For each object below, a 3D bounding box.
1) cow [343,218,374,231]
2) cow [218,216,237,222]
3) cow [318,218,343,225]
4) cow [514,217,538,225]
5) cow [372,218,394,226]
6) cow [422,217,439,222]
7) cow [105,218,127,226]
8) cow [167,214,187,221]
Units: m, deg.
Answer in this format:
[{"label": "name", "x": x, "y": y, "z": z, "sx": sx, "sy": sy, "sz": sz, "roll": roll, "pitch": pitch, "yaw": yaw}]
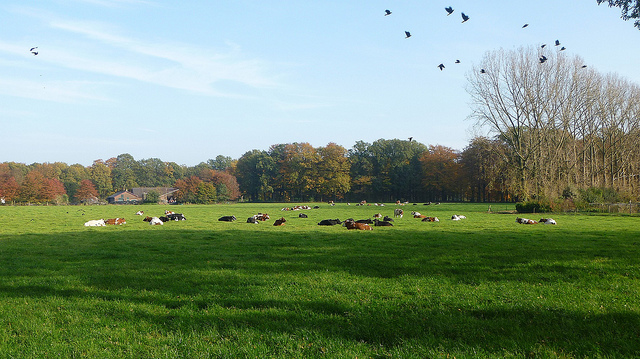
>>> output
[{"label": "cow", "x": 4.270, "y": 4.952, "z": 71.584, "sx": 3.027, "sy": 1.316, "sz": 1.099, "roll": 3, "pitch": 2, "yaw": 14}, {"label": "cow", "x": -11.212, "y": 4.750, "z": 79.587, "sx": 2.388, "sy": 0.523, "sz": 1.492, "roll": 6, "pitch": 11, "yaw": 38}, {"label": "cow", "x": 1.441, "y": 4.990, "z": 75.709, "sx": 2.757, "sy": 1.173, "sz": 0.811, "roll": -4, "pitch": 13, "yaw": -14}, {"label": "cow", "x": 24.369, "y": 4.633, "z": 76.522, "sx": 2.617, "sy": 0.643, "sz": 1.168, "roll": 7, "pitch": -14, "yaw": 16}, {"label": "cow", "x": 7.311, "y": 4.895, "z": 74.286, "sx": 2.396, "sy": 0.543, "sz": 1.167, "roll": -1, "pitch": 5, "yaw": 17}, {"label": "cow", "x": 13.416, "y": 4.730, "z": 78.052, "sx": 1.981, "sy": 0.443, "sz": 1.133, "roll": 4, "pitch": 10, "yaw": 28}, {"label": "cow", "x": -24.064, "y": 4.931, "z": 76.528, "sx": 2.174, "sy": 0.587, "sz": 1.684, "roll": -3, "pitch": 9, "yaw": -19}, {"label": "cow", "x": -18.130, "y": 4.700, "z": 82.363, "sx": 1.757, "sy": 0.600, "sz": 1.944, "roll": 7, "pitch": 11, "yaw": 41}]
